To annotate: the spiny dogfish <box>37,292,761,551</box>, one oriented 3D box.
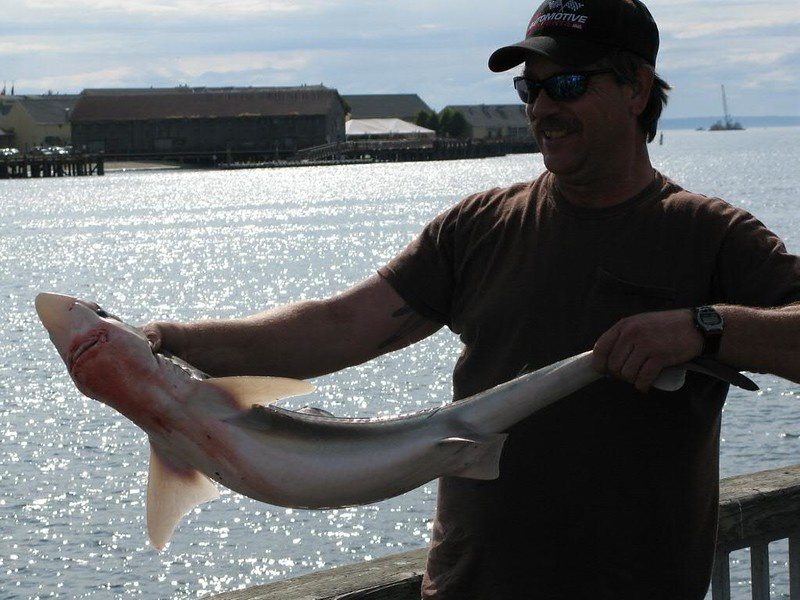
[{"bbox_3d":[-0.148,0.528,7.240,3.188,1.374,0.749,1,47,-8],"label":"spiny dogfish"}]
